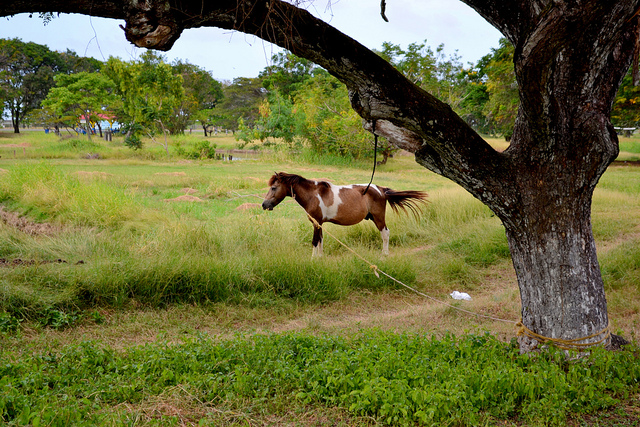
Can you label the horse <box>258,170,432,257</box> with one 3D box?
[{"bbox_3d":[0.762,-0.003,17.203,3.950,2.067,2.092,-7,10,-43],"label":"horse"}]
